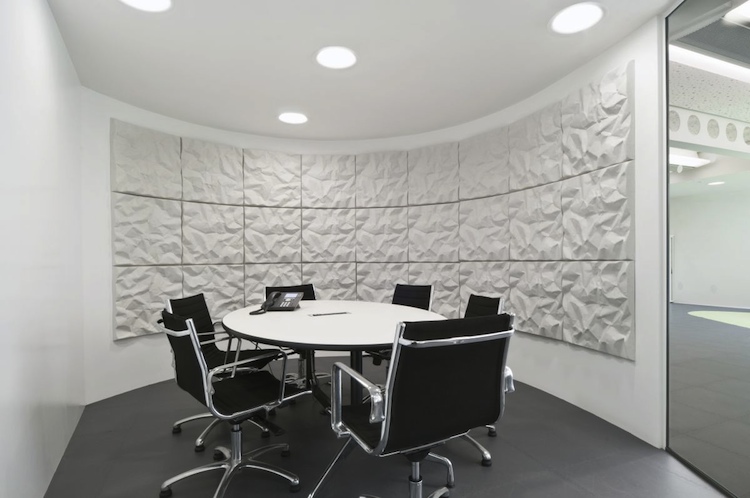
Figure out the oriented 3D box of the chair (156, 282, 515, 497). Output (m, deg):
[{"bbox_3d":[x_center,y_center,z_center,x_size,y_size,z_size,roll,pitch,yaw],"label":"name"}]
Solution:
[{"bbox_3d":[0.045,0.970,3.760,1.681,0.868,1.678,1,-1,-28],"label":"chair"}]
